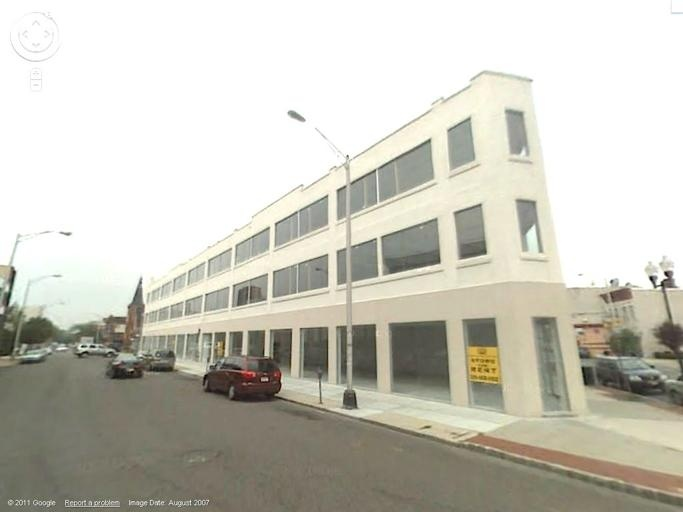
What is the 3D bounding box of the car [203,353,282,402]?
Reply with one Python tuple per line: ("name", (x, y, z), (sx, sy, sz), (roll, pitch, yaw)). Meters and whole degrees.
("car", (-4.651, 5.305, 19.083), (4.106, 1.773, 1.783), (-14, -21, 41))
